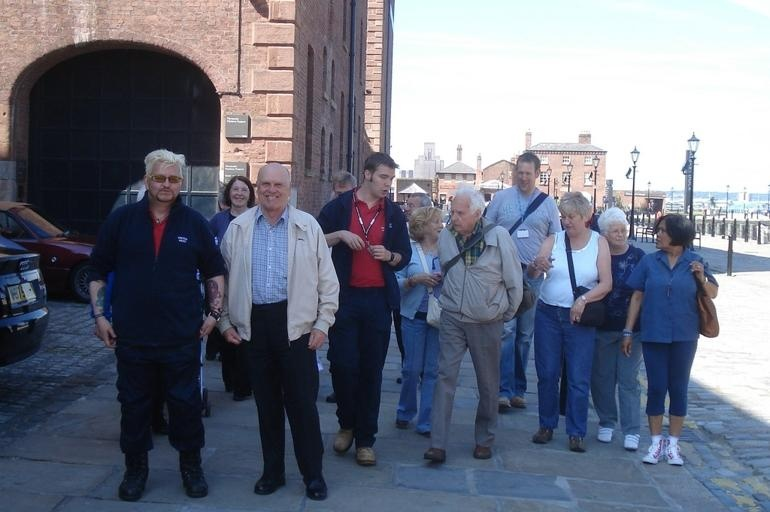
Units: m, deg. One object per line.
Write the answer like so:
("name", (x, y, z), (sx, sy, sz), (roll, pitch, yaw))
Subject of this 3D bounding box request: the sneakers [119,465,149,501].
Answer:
("sneakers", (-2.048, 1.867, 5.676), (0.129, 0.158, 0.366), (3, 1, -9))

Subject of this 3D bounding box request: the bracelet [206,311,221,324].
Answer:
("bracelet", (-1.428, 0.519, 5.835), (0.092, 0.055, 0.083), (0, -36, 34))

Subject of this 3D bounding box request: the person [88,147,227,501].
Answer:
("person", (-1.935, 0.559, 5.869), (1.056, 2.781, 0.695), (1, 3, -8))

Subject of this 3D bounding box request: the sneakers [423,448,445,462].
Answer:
("sneakers", (0.478, 1.892, 6.588), (0.105, 0.095, 0.218), (-3, -19, 38))

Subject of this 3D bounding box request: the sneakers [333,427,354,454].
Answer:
("sneakers", (-0.403, 1.809, 6.734), (0.120, 0.326, 0.134), (20, -33, -16))

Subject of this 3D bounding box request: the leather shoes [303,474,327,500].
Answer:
("leather shoes", (-0.574, 1.937, 5.840), (0.209, 0.178, 0.160), (3, 7, 3))
